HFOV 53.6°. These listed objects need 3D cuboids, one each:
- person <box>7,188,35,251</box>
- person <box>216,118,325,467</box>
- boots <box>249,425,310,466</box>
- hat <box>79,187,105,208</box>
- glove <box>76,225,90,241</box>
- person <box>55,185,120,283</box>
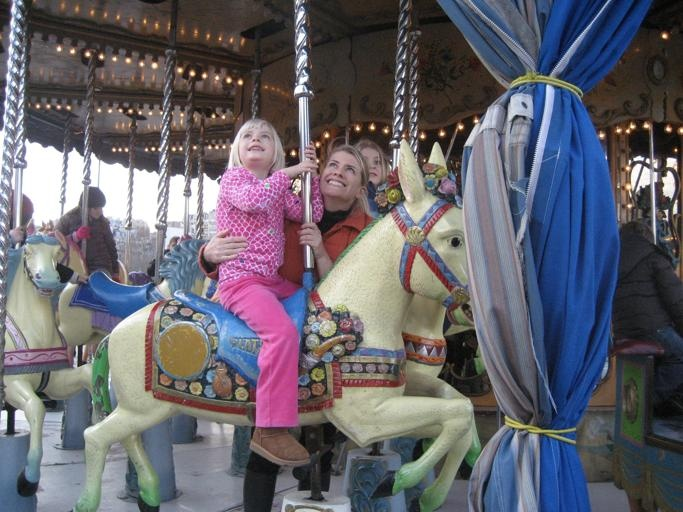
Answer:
[{"bbox_3d":[-2.577,-0.295,5.437,0.165,0.462,1.188,2,0,-25],"label":"person"},{"bbox_3d":[-0.404,0.129,3.592,0.543,1.825,0.671,2,0,-11],"label":"person"},{"bbox_3d":[-0.305,0.929,3.410,0.299,0.186,0.155,22,0,8],"label":"boots"},{"bbox_3d":[-2.783,-0.628,7.546,0.240,0.215,0.239,-10,-8,41],"label":"hat"},{"bbox_3d":[-2.495,-0.225,6.483,0.120,0.139,0.190,2,0,-23],"label":"glove"},{"bbox_3d":[-2.693,-0.265,7.257,0.648,1.032,1.205,2,0,-24],"label":"person"}]
